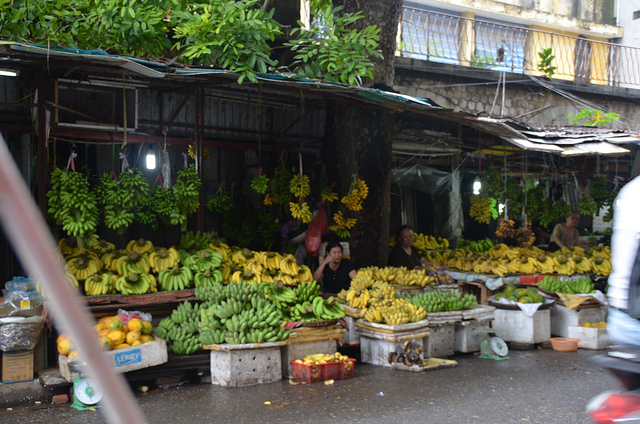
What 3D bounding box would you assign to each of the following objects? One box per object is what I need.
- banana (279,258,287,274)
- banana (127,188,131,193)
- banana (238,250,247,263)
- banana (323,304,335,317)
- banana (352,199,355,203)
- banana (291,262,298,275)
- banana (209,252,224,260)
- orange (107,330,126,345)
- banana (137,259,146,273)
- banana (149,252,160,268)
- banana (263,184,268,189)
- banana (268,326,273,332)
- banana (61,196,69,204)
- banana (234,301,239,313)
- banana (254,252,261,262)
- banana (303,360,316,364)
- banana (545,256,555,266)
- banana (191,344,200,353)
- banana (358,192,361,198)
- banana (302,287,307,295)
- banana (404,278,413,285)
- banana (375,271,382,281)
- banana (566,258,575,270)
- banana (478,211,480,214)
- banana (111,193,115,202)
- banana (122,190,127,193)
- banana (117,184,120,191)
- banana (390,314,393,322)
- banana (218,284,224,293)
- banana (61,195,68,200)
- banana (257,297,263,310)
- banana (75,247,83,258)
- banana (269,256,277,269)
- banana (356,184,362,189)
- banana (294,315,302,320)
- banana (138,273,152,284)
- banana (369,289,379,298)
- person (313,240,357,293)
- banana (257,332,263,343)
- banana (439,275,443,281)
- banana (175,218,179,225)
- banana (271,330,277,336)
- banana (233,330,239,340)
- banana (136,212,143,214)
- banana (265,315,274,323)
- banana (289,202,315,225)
[{"bbox_3d":[-0.620,0.875,11.067,0.047,0.153,0.134,2,-19,-27],"label":"banana"},{"bbox_3d":[-2.864,-0.331,10.180,0.044,0.067,0.032,-5,7,-7],"label":"banana"},{"bbox_3d":[-1.261,0.709,10.957,0.114,0.145,0.042,-32,-12,-44],"label":"banana"},{"bbox_3d":[0.121,1.511,10.404,0.078,0.267,0.095,-43,-13,4],"label":"banana"},{"bbox_3d":[0.610,-0.207,12.400,0.054,0.105,0.055,2,6,15],"label":"banana"},{"bbox_3d":[-0.423,0.905,11.099,0.064,0.222,0.065,-30,-17,32],"label":"banana"},{"bbox_3d":[-1.638,0.671,10.706,0.261,0.080,0.069,27,-32,-29],"label":"banana"},{"bbox_3d":[-2.817,1.718,9.381,0.205,0.158,0.170,-1,-46,-32],"label":"orange"},{"bbox_3d":[-2.739,0.803,10.384,0.048,0.243,0.063,-24,-7,-27],"label":"banana"},{"bbox_3d":[-2.581,0.729,10.471,0.068,0.170,0.295,-12,14,16],"label":"banana"},{"bbox_3d":[-0.933,-0.449,11.659,0.056,0.055,0.015,-47,0,-36],"label":"banana"},{"bbox_3d":[-0.717,1.684,9.833,0.037,0.025,0.077,4,43,6],"label":"banana"},{"bbox_3d":[-3.676,-0.179,9.815,0.151,0.035,0.041,-45,43,-16],"label":"banana"},{"bbox_3d":[-1.226,1.386,9.926,0.056,0.151,0.067,0,8,33],"label":"banana"},{"bbox_3d":[-1.004,0.721,11.063,0.035,0.116,0.094,-28,0,-29],"label":"banana"},{"bbox_3d":[-0.157,2.156,9.837,0.192,0.024,0.096,-6,7,-13],"label":"banana"},{"bbox_3d":[4.477,0.936,13.207,0.064,0.253,0.077,-36,-24,16],"label":"banana"},{"bbox_3d":[-1.828,1.978,9.934,0.065,0.072,0.220,-20,-16,-46],"label":"banana"},{"bbox_3d":[0.719,-0.318,12.445,0.050,0.088,0.070,-4,7,2],"label":"banana"},{"bbox_3d":[-0.232,1.194,10.415,0.074,0.095,0.036,-7,8,-26],"label":"banana"},{"bbox_3d":[1.557,1.216,11.969,0.137,0.077,0.046,-20,23,-20],"label":"banana"},{"bbox_3d":[1.023,1.105,11.966,0.030,0.130,0.081,-40,-2,-33],"label":"banana"},{"bbox_3d":[4.843,0.987,13.134,0.118,0.209,0.130,-6,7,-16],"label":"banana"},{"bbox_3d":[3.245,-0.006,13.892,0.064,0.035,0.016,2,6,34],"label":"banana"},{"bbox_3d":[-3.072,-0.213,10.063,0.028,0.113,0.024,19,10,32],"label":"banana"},{"bbox_3d":[-2.920,-0.313,10.123,0.059,0.055,0.014,-10,-18,-34],"label":"banana"},{"bbox_3d":[-3.010,-0.373,10.136,0.035,0.088,0.080,-6,7,-16],"label":"banana"},{"bbox_3d":[1.094,1.609,10.455,0.046,0.076,0.072,-4,7,1],"label":"banana"},{"bbox_3d":[-1.489,1.126,10.141,0.062,0.099,0.169,-5,7,-7],"label":"banana"},{"bbox_3d":[-3.685,-0.221,9.810,0.117,0.032,0.034,-26,9,-7],"label":"banana"},{"bbox_3d":[-0.885,1.340,10.007,0.047,0.163,0.049,7,-15,-25],"label":"banana"},{"bbox_3d":[-3.652,0.613,10.305,0.053,0.040,0.167,13,31,11],"label":"banana"},{"bbox_3d":[-0.786,0.846,11.063,0.044,0.259,0.095,-30,-10,12],"label":"banana"},{"bbox_3d":[0.716,-0.479,12.533,0.111,0.078,0.110,-4,7,0],"label":"banana"},{"bbox_3d":[-0.330,1.574,10.246,0.105,0.060,0.065,-4,7,5],"label":"banana"},{"bbox_3d":[-2.611,0.988,10.188,0.138,0.151,0.033,-17,-1,12],"label":"banana"},{"bbox_3d":[0.861,1.325,11.087,0.060,0.050,0.208,-33,37,-17],"label":"banana"},{"bbox_3d":[0.283,1.115,11.757,0.760,1.236,0.603,0,6,10],"label":"person"},{"bbox_3d":[-0.855,1.788,9.752,0.076,0.136,0.072,8,-8,-2],"label":"banana"},{"bbox_3d":[2.233,1.190,12.531,0.031,0.039,0.128,23,56,24],"label":"banana"},{"bbox_3d":[-2.251,0.149,10.658,0.041,0.082,0.025,5,12,-27],"label":"banana"},{"bbox_3d":[-0.665,1.729,9.827,0.030,0.064,0.059,-1,8,25],"label":"banana"},{"bbox_3d":[-1.208,1.747,9.737,0.070,0.098,0.058,-12,-5,-10],"label":"banana"},{"bbox_3d":[-2.836,0.006,10.609,0.065,0.025,0.161,-10,8,-37],"label":"banana"},{"bbox_3d":[-0.728,1.539,9.864,0.127,0.104,0.046,-8,8,-27],"label":"banana"},{"bbox_3d":[-0.345,0.029,12.229,0.191,0.233,0.362,31,-7,27],"label":"banana"}]
